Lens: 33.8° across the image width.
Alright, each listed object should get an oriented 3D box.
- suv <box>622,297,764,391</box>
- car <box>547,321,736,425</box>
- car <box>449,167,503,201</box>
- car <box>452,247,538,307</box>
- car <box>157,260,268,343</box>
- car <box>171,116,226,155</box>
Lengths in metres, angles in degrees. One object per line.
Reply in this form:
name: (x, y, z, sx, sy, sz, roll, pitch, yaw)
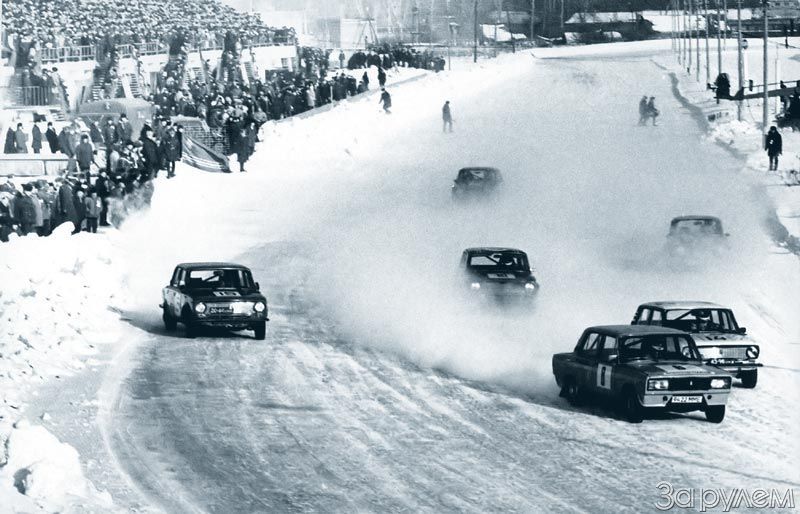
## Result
suv: (9.021, 2.655, 40.164, 2.069, 1.957, 3.740, -1, 5, -10)
car: (5.270, 3.571, 36.876, 3.361, 3.182, 7.823, 3, 0, -18)
car: (3.307, -3.147, 57.723, 2.107, 1.287, 0.896, -1, 12, -2)
car: (3.306, 0.683, 43.289, 2.522, 1.507, 2.005, 3, 13, 14)
car: (-5.876, 1.488, 41.837, 3.294, 2.203, 1.885, 0, 12, 1)
car: (-9.327, -5.548, 61.400, 2.644, 1.579, 1.462, 8, 15, 31)
